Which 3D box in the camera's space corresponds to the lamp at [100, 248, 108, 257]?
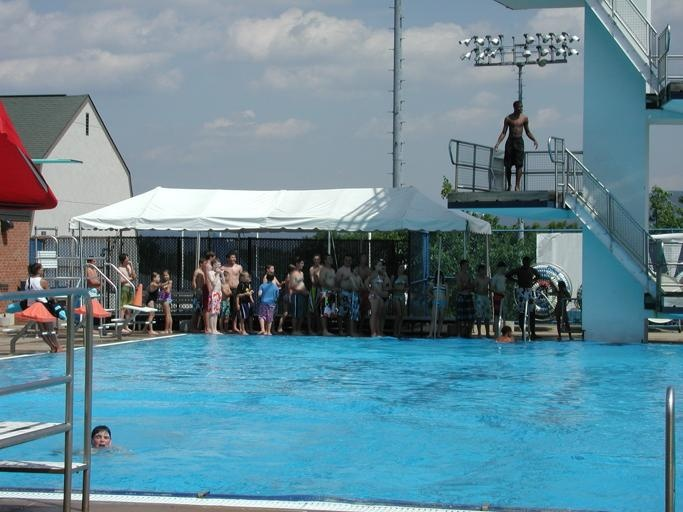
[{"bbox_3d":[-6.862,-0.145,32.282,0.244,0.301,0.070,-6,-23,23],"label":"lamp"}]
